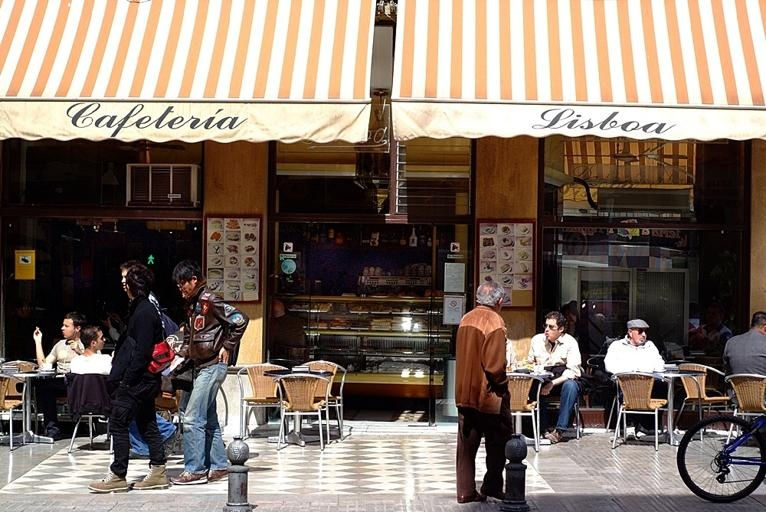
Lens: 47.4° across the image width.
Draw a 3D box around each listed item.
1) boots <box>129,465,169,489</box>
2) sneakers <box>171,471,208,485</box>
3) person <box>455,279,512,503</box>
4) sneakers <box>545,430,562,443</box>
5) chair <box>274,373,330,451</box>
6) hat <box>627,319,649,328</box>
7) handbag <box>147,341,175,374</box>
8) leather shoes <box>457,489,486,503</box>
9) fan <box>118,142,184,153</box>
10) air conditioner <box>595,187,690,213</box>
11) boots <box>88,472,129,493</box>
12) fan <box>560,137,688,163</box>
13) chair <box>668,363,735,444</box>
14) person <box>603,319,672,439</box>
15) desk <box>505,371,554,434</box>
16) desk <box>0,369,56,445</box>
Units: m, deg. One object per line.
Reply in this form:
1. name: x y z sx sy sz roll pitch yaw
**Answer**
1. boots: -2.792 2.701 10.690 0.543 0.328 0.219 2 -2 0
2. sneakers: -2.377 2.708 10.731 0.456 0.205 0.164 3 -4 -16
3. person: 1.145 1.583 10.080 0.657 2.549 0.512 -1 -5 12
4. sneakers: 2.524 2.670 12.915 0.121 0.133 0.335 21 -3 27
5. chair: -1.153 2.147 12.716 0.897 1.433 1.020 0 5 1
6. hat: 3.833 1.036 13.239 0.171 0.081 0.232 2 -8 -8
7. handbag: -2.676 1.218 10.440 0.174 0.317 0.326 12 17 4
8. leather shoes: 1.036 2.773 10.180 0.358 0.157 0.131 -2 3 -35
9. fan: -3.689 -1.762 14.000 1.080 0.168 0.127 -1 -5 6
10. air conditioner: 4.164 -0.886 13.876 1.515 0.350 0.126 0 -5 -4
11. boots: -3.273 2.718 10.547 0.502 0.290 0.210 3 -3 -4
12. fan: 3.851 -1.688 14.026 1.380 0.443 0.146 2 3 0
13. chair: 4.933 2.245 13.302 1.019 1.396 1.051 0 0 -6
14. person: 3.929 1.855 13.261 0.890 1.720 1.021 2 -5 -44
15. desk: 2.060 2.115 12.627 0.483 0.857 0.797 -2 -5 20
16. desk: -5.358 2.205 12.706 0.964 1.104 0.985 1 -3 -8
